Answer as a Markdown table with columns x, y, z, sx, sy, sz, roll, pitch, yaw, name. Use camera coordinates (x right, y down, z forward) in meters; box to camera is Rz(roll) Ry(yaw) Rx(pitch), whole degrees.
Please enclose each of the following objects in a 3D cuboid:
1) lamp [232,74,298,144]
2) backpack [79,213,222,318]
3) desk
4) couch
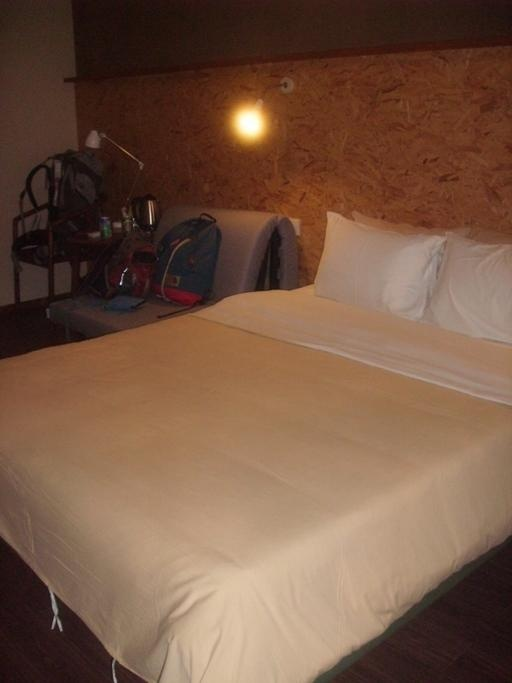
| x | y | z | sx | sy | sz | roll | pitch | yaw | name |
| --- | --- | --- | --- | --- | --- | --- | --- | --- | --- |
| 0.054 | -1.409 | 3.283 | 0.266 | 0.374 | 0.092 | 49 | 33 | 15 | lamp |
| -0.616 | -0.432 | 3.287 | 0.763 | 0.583 | 0.327 | -14 | -10 | 40 | backpack |
| -1.168 | -0.603 | 3.854 | 0.415 | 0.444 | 0.382 | 25 | 32 | 27 | desk |
| -0.391 | -0.433 | 3.142 | 1.073 | 0.711 | 1.011 | 23 | 31 | 39 | couch |
